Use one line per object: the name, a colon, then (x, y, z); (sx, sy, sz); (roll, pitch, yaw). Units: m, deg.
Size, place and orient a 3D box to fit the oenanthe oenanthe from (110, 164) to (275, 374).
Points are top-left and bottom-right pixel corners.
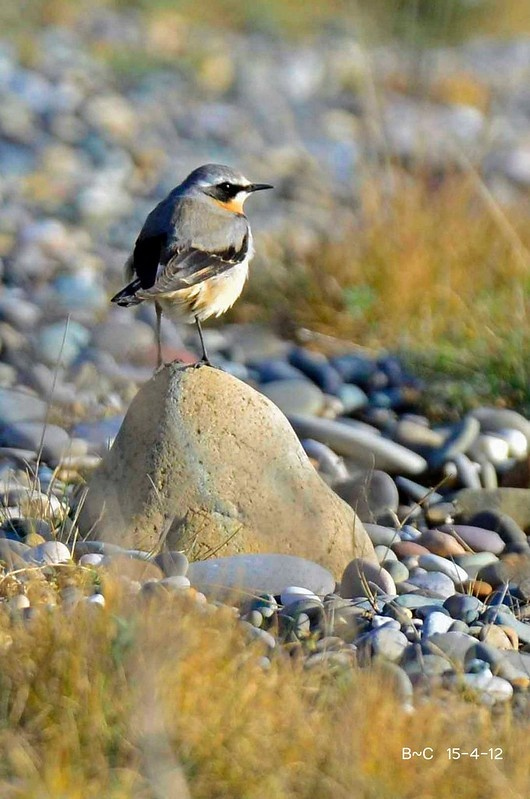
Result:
oenanthe oenanthe: (-0.347, -0.514, 3.816); (0.498, 0.739, 1.023); (6, 15, 24)
